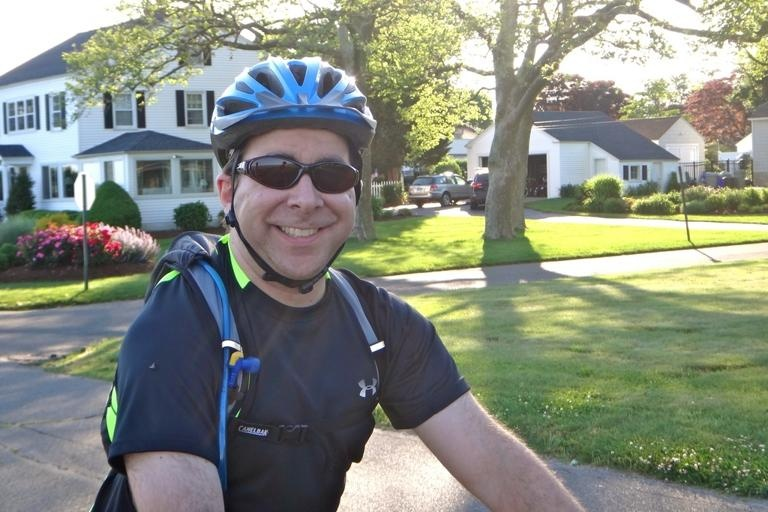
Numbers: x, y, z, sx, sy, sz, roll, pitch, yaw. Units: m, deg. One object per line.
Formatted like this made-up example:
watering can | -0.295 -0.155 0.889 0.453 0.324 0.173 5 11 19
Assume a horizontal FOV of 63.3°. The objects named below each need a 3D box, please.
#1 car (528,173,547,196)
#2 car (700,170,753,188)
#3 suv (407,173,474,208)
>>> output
car | 12.852 -5.932 52.197 1.331 1.284 2.394 -1 0 30
car | 24.531 -5.641 44.693 3.180 1.728 7.832 2 3 29
suv | 3.908 -4.733 44.931 2.117 1.761 4.576 3 10 39
